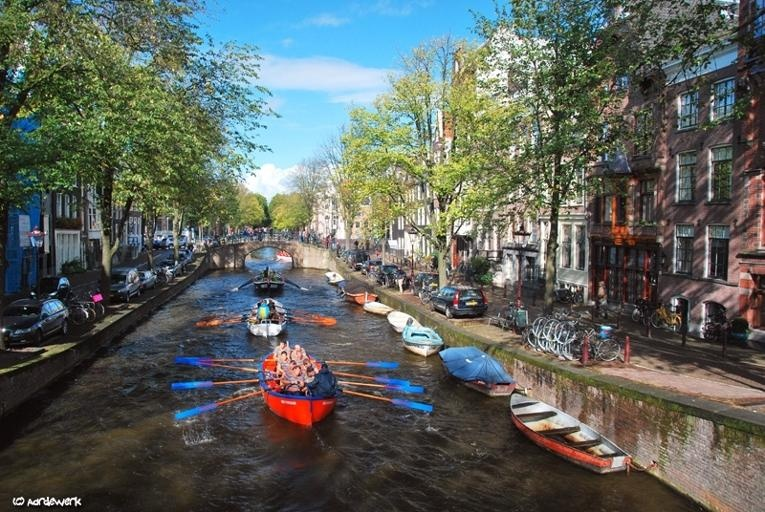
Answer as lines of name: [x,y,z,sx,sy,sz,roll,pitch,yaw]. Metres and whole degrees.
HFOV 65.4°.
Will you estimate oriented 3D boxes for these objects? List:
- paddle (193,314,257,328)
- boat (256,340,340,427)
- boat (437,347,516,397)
paddle: [-10.830,4.513,40.485,3.631,0.410,1.152,2,23,-47]
boat: [-3.648,6.006,27.039,3.406,2.164,7.165,2,6,-14]
boat: [4.660,5.671,29.471,2.847,1.701,4.916,2,8,-20]
